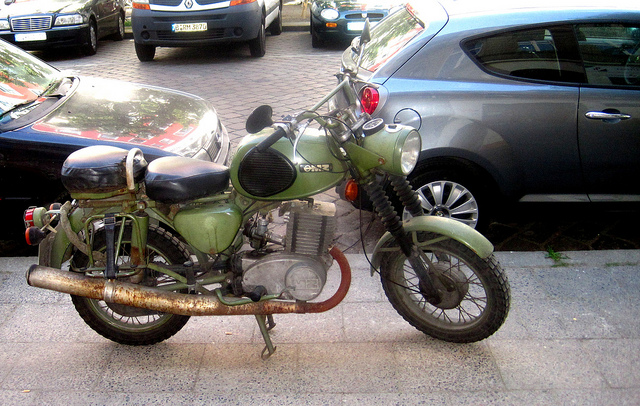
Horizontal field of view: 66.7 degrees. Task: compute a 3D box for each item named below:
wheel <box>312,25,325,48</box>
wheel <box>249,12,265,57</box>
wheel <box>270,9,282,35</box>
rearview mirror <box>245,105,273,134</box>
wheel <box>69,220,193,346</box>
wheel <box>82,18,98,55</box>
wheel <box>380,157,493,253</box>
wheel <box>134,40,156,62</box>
[{"bbox_3d":[-0.050,-3.856,11.372,0.287,0.483,0.624,1,37,0],"label":"wheel"},{"bbox_3d":[-1.355,-3.673,10.712,0.279,0.806,0.625,13,39,15],"label":"wheel"},{"bbox_3d":[-1.172,-4.828,12.998,0.224,0.611,0.468,17,40,19],"label":"wheel"},{"bbox_3d":[-0.403,-0.528,3.221,0.167,0.273,0.219,-3,38,-5],"label":"rearview mirror"},{"bbox_3d":[-1.421,0.574,3.659,1.108,1.009,0.177,3,24,0],"label":"wheel"},{"bbox_3d":[-5.400,-3.851,11.248,0.285,0.772,0.798,2,26,-11],"label":"wheel"},{"bbox_3d":[0.965,-0.017,4.091,0.879,0.795,0.257,3,9,-2],"label":"wheel"},{"bbox_3d":[-3.771,-3.259,10.424,0.175,0.449,0.476,4,11,28],"label":"wheel"}]
